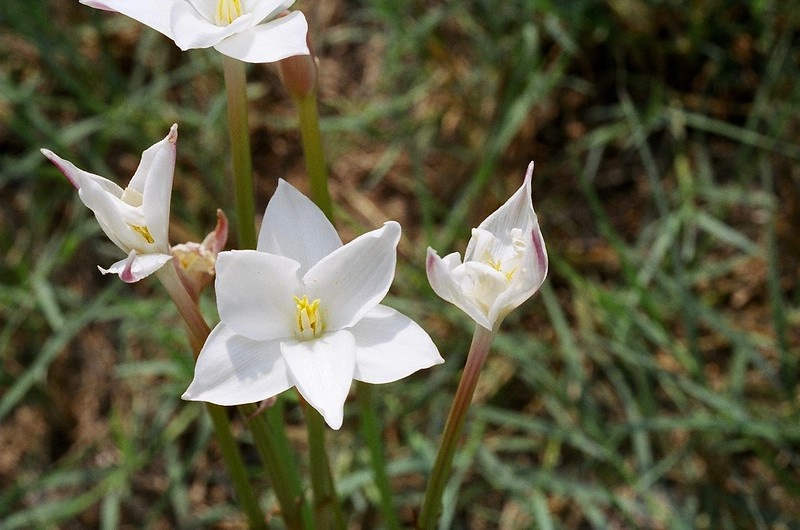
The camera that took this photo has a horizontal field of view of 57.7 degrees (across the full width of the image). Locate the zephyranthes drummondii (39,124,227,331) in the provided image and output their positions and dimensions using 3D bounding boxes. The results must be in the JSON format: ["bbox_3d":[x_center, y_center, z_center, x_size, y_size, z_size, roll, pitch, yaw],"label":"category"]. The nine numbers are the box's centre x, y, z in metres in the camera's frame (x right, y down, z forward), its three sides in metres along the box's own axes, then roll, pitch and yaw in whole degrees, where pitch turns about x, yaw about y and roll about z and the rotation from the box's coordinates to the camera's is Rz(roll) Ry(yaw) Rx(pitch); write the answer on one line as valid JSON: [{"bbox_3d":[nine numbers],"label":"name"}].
[{"bbox_3d":[-0.793,-0.016,2.441,0.405,0.869,0.333,-32,34,-31],"label":"zephyranthes drummondii"}]

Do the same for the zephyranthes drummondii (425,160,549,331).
[{"bbox_3d":[0.356,0.023,2.395,0.321,0.510,0.396,-18,24,2],"label":"zephyranthes drummondii"}]

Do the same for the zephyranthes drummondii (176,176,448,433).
[{"bbox_3d":[-0.269,0.189,2.309,0.792,0.644,0.168,2,-15,-7],"label":"zephyranthes drummondii"}]
